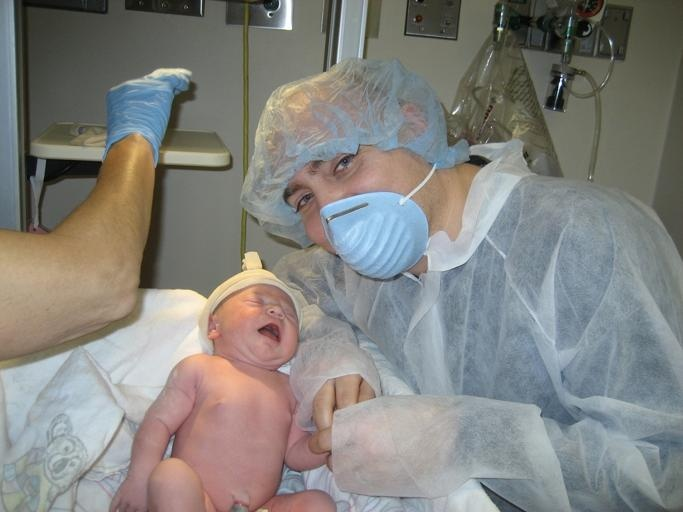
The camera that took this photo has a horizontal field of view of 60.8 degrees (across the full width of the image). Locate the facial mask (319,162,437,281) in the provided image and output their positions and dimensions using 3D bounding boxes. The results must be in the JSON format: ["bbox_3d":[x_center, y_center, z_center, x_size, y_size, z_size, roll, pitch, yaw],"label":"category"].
[{"bbox_3d":[0.099,-0.065,1.628,0.266,0.184,0.310,-2,40,52],"label":"facial mask"}]
